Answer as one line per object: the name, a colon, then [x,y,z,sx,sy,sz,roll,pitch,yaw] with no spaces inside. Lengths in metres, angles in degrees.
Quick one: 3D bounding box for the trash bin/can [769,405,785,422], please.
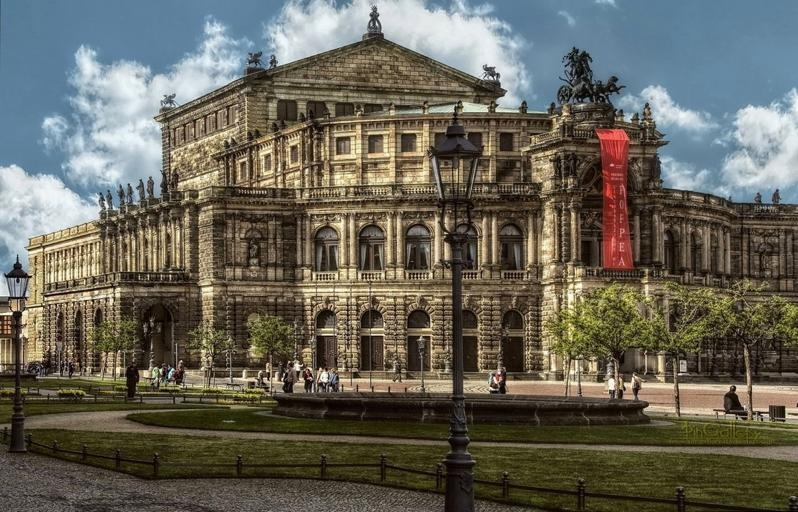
trash bin/can: [25.820,10.882,93.916,1.334,1.138,0.976,1,-3,22]
